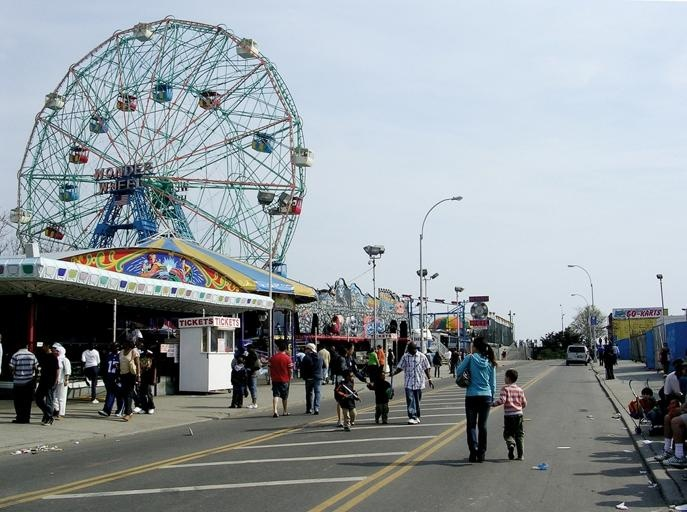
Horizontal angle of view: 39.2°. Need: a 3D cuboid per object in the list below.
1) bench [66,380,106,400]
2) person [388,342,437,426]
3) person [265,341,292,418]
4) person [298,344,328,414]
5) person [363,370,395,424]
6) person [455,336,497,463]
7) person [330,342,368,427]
[{"bbox_3d":[-9.758,5.015,35.657,0.668,0.294,1.088,10,4,26],"label":"bench"},{"bbox_3d":[1.871,3.516,26.706,0.999,2.239,0.742,-1,1,-12],"label":"person"},{"bbox_3d":[-2.061,3.793,29.869,0.594,2.610,0.705,-1,-6,6],"label":"person"},{"bbox_3d":[-1.004,3.788,29.973,0.676,2.273,0.809,-1,-3,12],"label":"person"},{"bbox_3d":[1.026,3.940,26.786,0.731,1.473,0.770,0,-5,9],"label":"person"},{"bbox_3d":[3.014,3.242,21.685,0.832,2.782,0.755,0,-5,11],"label":"person"},{"bbox_3d":[0.083,3.725,26.164,0.621,2.936,0.665,0,-8,-6],"label":"person"}]
